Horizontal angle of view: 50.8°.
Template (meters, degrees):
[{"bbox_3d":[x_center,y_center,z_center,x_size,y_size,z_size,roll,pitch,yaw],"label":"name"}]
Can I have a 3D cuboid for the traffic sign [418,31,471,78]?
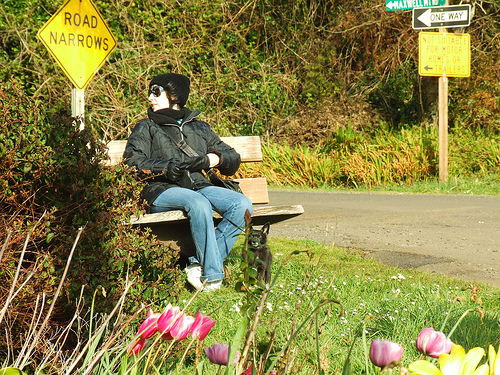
[{"bbox_3d":[3.995,-2.757,10.832,1.014,0.927,0.110,-1,4,-11],"label":"traffic sign"}]

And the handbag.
[{"bbox_3d":[-0.458,-0.256,5.235,0.170,0.650,0.853,-20,29,-28],"label":"handbag"}]

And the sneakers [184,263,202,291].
[{"bbox_3d":[-0.495,0.799,4.666,0.112,0.228,0.328,-3,0,-28],"label":"sneakers"}]

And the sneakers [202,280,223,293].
[{"bbox_3d":[-0.325,0.875,4.589,0.160,0.100,0.236,-3,1,-7],"label":"sneakers"}]

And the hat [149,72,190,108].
[{"bbox_3d":[-0.777,-1.013,5.430,0.358,0.319,0.310,-3,2,-13],"label":"hat"}]

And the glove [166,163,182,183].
[{"bbox_3d":[-0.692,-0.135,4.836,0.116,0.185,0.157,5,2,-4],"label":"glove"}]

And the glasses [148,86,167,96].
[{"bbox_3d":[-0.938,-0.973,5.276,0.103,0.055,0.116,1,-16,24],"label":"glasses"}]

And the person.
[{"bbox_3d":[-0.606,-0.110,4.976,1.107,2.084,1.167,-3,0,-19],"label":"person"}]
